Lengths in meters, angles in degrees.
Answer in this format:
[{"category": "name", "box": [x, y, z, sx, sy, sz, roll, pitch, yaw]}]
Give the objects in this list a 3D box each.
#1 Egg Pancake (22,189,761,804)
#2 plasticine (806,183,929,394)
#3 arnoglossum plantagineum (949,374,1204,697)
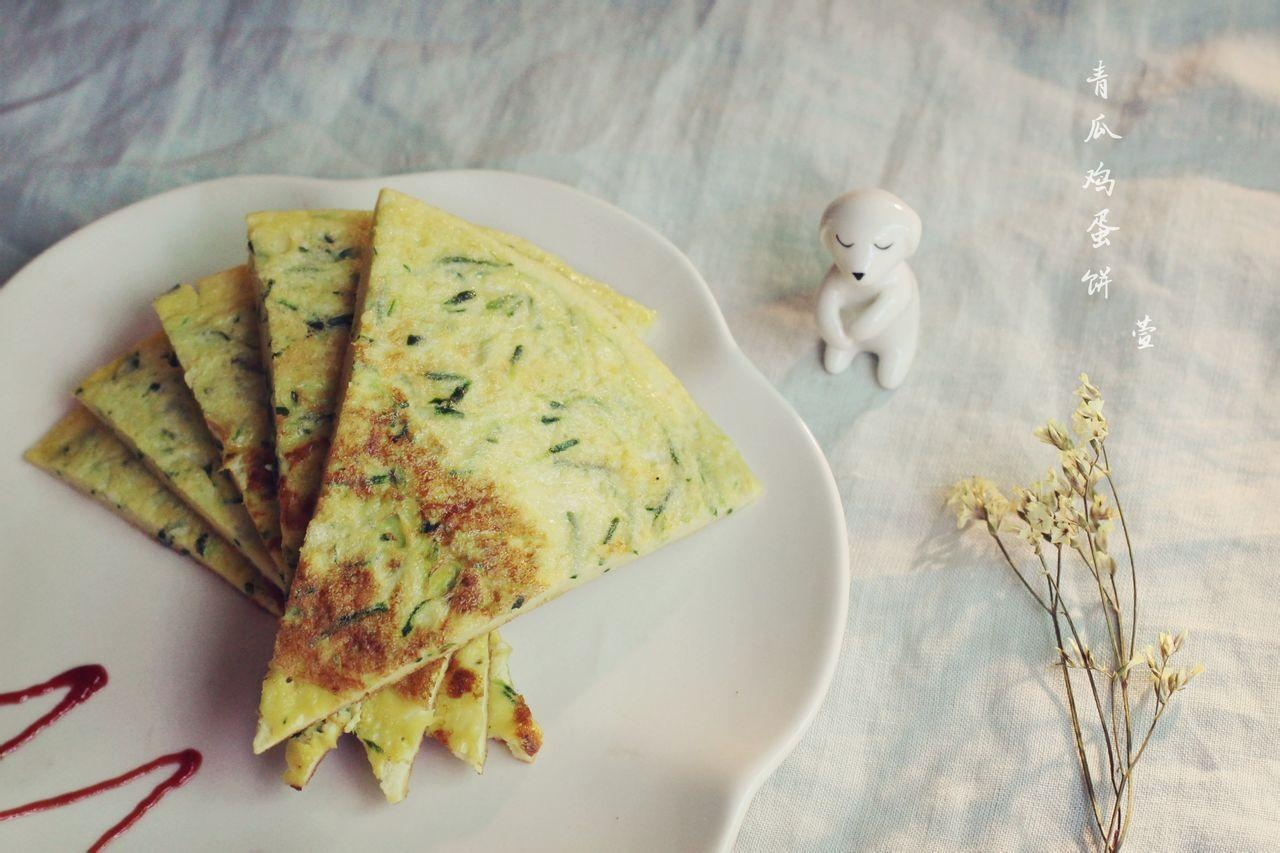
[{"category": "Egg Pancake", "box": [-0.608, 0.050, 3.295, 1.521, 0.428, 1.497, 40, 72, 7]}, {"category": "plasticine", "box": [0.621, -0.360, 3.504, 0.307, 0.531, 0.368, 12, 36, 18]}, {"category": "arnoglossum plantagineum", "box": [1.257, 0.331, 3.411, 0.586, 0.280, 0.800, -34, 79, -16]}]
